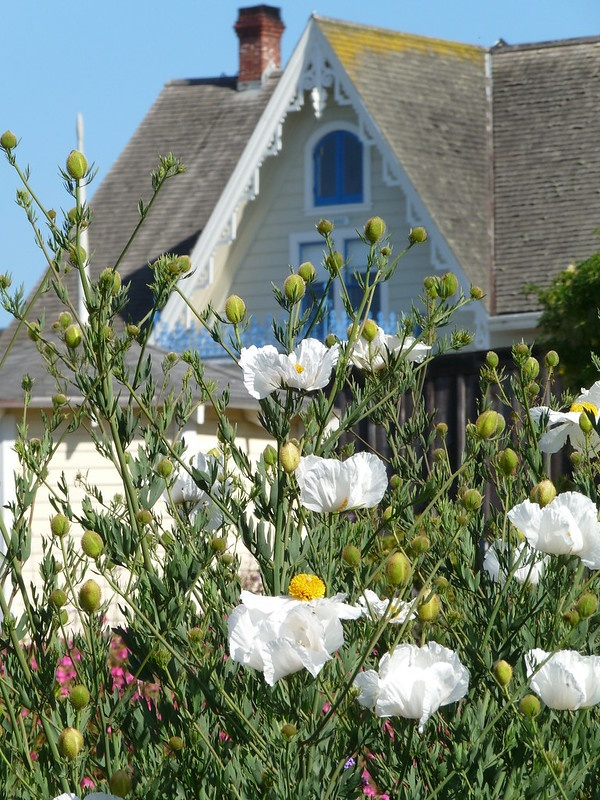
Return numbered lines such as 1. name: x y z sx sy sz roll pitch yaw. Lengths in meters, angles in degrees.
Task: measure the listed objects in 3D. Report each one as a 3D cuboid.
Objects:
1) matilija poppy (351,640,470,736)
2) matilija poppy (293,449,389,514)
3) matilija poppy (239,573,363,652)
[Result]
1. matilija poppy: 0.242 0.606 4.779 0.334 0.266 0.188 -3 -3 -19
2. matilija poppy: 0.099 0.153 4.898 0.209 0.203 0.141 -3 1 -32
3. matilija poppy: -0.021 0.482 4.746 0.145 0.219 0.348 -2 -7 -12
